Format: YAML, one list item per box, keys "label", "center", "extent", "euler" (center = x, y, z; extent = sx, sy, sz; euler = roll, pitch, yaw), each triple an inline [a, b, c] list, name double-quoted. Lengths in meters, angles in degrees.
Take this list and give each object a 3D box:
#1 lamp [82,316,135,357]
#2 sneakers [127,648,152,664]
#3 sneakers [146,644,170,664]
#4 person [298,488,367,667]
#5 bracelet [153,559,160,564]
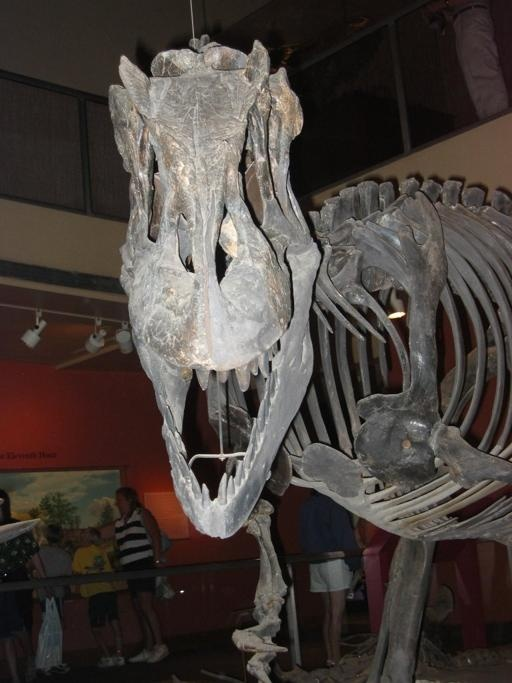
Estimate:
- label: "lamp"
  center: [-1.430, -0.041, 6.137]
  extent: [0.757, 0.303, 0.495]
  euler: [2, -16, -15]
- label: "sneakers"
  center: [-0.703, 1.893, 3.794]
  extent: [0.132, 0.055, 0.042]
  euler: [1, -29, 4]
- label: "sneakers"
  center: [-0.604, 1.914, 3.863]
  extent: [0.048, 0.057, 0.137]
  euler: [-9, -10, 26]
- label: "person"
  center: [0.482, 1.419, 3.788]
  extent: [0.368, 0.861, 0.938]
  euler: [-8, 2, 2]
- label: "bracelet"
  center: [-0.750, 1.640, 4.711]
  extent: [0.040, 0.020, 0.051]
  euler: [-2, 3, 2]
